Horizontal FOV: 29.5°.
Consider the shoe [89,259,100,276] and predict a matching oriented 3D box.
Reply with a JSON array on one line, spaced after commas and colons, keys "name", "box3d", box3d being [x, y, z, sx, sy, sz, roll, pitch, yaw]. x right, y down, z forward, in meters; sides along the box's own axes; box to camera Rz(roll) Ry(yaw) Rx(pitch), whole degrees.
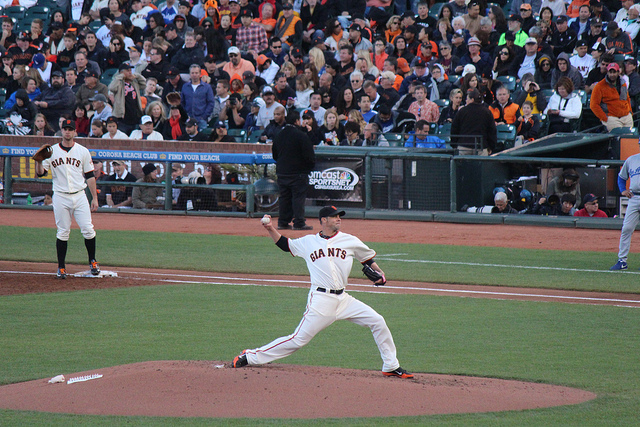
[{"name": "shoe", "box3d": [-4.963, 1.185, 26.698, 0.201, 0.362, 0.405, 0, 1, -13]}]

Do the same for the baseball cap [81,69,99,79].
[{"name": "baseball cap", "box3d": [-6.834, -4.136, 35.928, 0.492, 0.242, 0.338, 8, 5, -11]}]

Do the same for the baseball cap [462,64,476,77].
[{"name": "baseball cap", "box3d": [4.131, -4.031, 33.587, 0.283, 0.235, 0.454, 22, 49, 34]}]

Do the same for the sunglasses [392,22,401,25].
[{"name": "sunglasses", "box3d": [2.323, -5.777, 36.914, 0.283, 0.060, 0.071, 0, 1, -21]}]

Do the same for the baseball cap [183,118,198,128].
[{"name": "baseball cap", "box3d": [-3.627, -2.571, 34.382, 0.258, 0.179, 0.355, 3, 3, 35]}]

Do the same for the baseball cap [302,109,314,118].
[{"name": "baseball cap", "box3d": [-0.336, -2.754, 33.319, 0.272, 0.237, 0.503, 0, 1, 8]}]

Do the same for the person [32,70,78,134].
[{"name": "person", "box3d": [-8.001, -3.052, 36.293, 1.277, 2.383, 0.849, 6, 4, 12]}]

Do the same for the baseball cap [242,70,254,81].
[{"name": "baseball cap", "box3d": [-2.098, -3.959, 34.946, 0.276, 0.128, 0.267, -4, 37, -5]}]

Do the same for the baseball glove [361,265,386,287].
[{"name": "baseball glove", "box3d": [0.954, 1.130, 21.820, 0.411, 0.171, 0.296, 35, -7, -8]}]

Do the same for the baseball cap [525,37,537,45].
[{"name": "baseball cap", "box3d": [5.839, -4.780, 33.616, 0.319, 0.151, 0.486, 0, 0, 14]}]

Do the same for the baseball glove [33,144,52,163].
[{"name": "baseball glove", "box3d": [-6.062, -1.328, 26.225, 0.129, 0.403, 0.321, 43, -8, 33]}]

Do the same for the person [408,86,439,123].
[{"name": "person", "box3d": [2.798, -2.969, 33.367, 0.985, 1.020, 0.591, 5, 13, 30]}]

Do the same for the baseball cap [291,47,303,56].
[{"name": "baseball cap", "box3d": [-0.664, -4.815, 36.055, 0.357, 0.267, 0.312, -1, 2, -43]}]

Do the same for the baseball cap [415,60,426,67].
[{"name": "baseball cap", "box3d": [2.804, -4.225, 34.148, 0.299, 0.208, 0.248, 0, 1, 6]}]

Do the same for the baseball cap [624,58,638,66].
[{"name": "baseball cap", "box3d": [8.450, -4.085, 32.762, 0.526, 0.211, 0.280, -1, 2, -39]}]

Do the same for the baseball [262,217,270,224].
[{"name": "baseball", "box3d": [-0.976, 0.129, 21.657, 0.095, 0.106, 0.120, -4, 11, -15]}]

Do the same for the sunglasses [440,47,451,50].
[{"name": "sunglasses", "box3d": [3.519, -4.719, 34.710, 0.087, 0.047, 0.240, -1, 2, -41]}]

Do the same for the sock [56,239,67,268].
[{"name": "sock", "box3d": [-5.650, 0.875, 26.470, 0.174, 0.626, 0.264, 0, 2, -16]}]

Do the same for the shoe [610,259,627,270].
[{"name": "shoe", "box3d": [6.661, 1.142, 27.121, 0.362, 0.237, 0.204, 0, 1, 6]}]

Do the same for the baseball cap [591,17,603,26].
[{"name": "baseball cap", "box3d": [7.753, -5.384, 34.035, 0.323, 0.249, 0.266, 0, 1, -4]}]

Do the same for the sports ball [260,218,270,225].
[{"name": "sports ball", "box3d": [-0.988, 0.130, 21.706, 0.161, 0.101, 0.200, -1, -4, -15]}]

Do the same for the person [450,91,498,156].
[{"name": "person", "box3d": [4.062, -1.953, 32.338, 1.184, 2.609, 0.720, 2, 13, 9]}]

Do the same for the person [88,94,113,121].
[{"name": "person", "box3d": [-6.466, -3.162, 35.846, 0.879, 0.667, 1.211, 2, 13, -20]}]

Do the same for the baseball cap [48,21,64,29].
[{"name": "baseball cap", "box3d": [-8.663, -6.205, 40.065, 0.314, 0.237, 0.427, 16, 7, 10]}]

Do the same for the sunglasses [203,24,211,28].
[{"name": "sunglasses", "box3d": [-3.580, -5.920, 38.238, 0.270, 0.084, 0.122, 0, 1, 7]}]

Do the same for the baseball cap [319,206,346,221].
[{"name": "baseball cap", "box3d": [0.205, -0.005, 21.839, 0.354, 0.141, 0.224, -5, -1, 16]}]

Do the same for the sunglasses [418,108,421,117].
[{"name": "sunglasses", "box3d": [2.725, -2.774, 33.364, 0.055, 0.238, 0.108, -1, 2, -39]}]

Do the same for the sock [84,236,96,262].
[{"name": "sock", "box3d": [-5.048, 0.803, 26.568, 0.184, 0.526, 0.197, 1, 2, 18]}]

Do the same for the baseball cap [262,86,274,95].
[{"name": "baseball cap", "box3d": [-1.477, -3.433, 33.798, 0.248, 0.246, 0.356, 0, 1, -13]}]

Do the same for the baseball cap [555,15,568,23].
[{"name": "baseball cap", "box3d": [6.841, -5.524, 34.509, 0.351, 0.236, 0.323, 1, 2, 30]}]

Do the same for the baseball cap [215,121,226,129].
[{"name": "baseball cap", "box3d": [-2.829, -2.477, 34.234, 0.289, 0.191, 0.322, 0, 1, 0]}]

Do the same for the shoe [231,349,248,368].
[{"name": "shoe", "box3d": [-1.453, 2.599, 21.703, 0.288, 0.290, 0.252, 0, 1, -7]}]

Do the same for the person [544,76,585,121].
[{"name": "person", "box3d": [6.636, -2.974, 32.563, 1.464, 1.343, 0.972, 6, 8, 38]}]

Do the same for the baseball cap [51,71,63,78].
[{"name": "baseball cap", "box3d": [-7.780, -4.110, 35.872, 0.341, 0.167, 0.476, 0, -4, 5]}]
